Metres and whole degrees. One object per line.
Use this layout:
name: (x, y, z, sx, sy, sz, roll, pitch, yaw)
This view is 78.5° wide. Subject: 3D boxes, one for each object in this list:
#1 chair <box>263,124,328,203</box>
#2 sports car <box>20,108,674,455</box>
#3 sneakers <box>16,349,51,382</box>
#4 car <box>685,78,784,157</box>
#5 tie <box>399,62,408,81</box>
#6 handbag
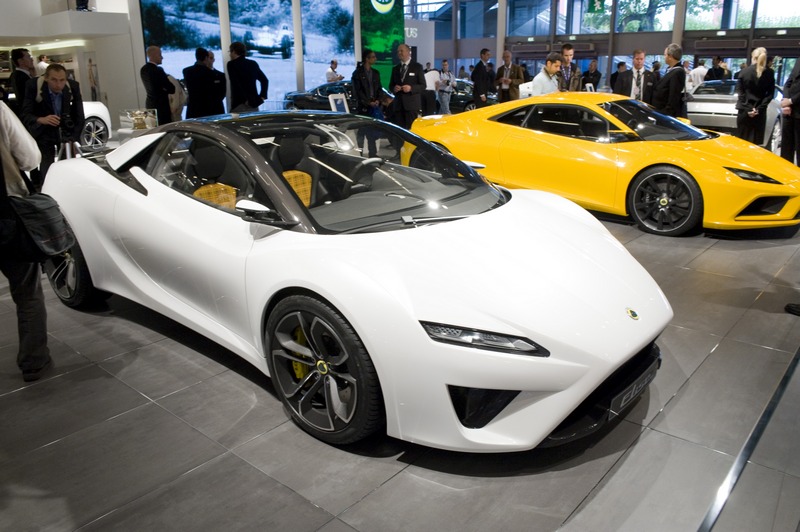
chair: (-0.688, -0.579, 3.178, 0.354, 0.481, 0.388, -18, 23, -33)
sports car: (-0.520, 0.205, 3.529, 4.277, 1.440, 2.113, 23, 32, 27)
sneakers: (-2.595, 0.689, 3.472, 0.147, 0.113, 0.249, 3, 18, -11)
car: (6.965, -3.141, 10.430, 1.168, 0.850, 2.589, 13, 37, 40)
tie: (0.075, -3.715, 9.466, 0.146, 0.293, 0.113, 7, 23, 17)
handbag: (-2.555, -0.289, 3.451, 0.257, 0.454, 0.465, 5, 15, 16)
